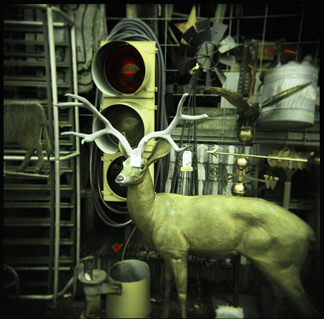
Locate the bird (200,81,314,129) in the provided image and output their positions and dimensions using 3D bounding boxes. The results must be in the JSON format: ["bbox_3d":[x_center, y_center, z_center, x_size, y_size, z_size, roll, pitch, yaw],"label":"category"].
[{"bbox_3d":[0.687,-0.396,2.889,0.794,0.365,0.274,3,-2,7],"label":"bird"}]

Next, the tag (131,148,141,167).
[{"bbox_3d":[-0.168,-0.010,2.543,0.051,0.114,0.018,-1,-16,-1],"label":"tag"}]

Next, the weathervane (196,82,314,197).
[{"bbox_3d":[0.734,-0.151,2.952,0.724,0.832,0.147,2,4,6],"label":"weathervane"}]

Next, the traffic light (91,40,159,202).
[{"bbox_3d":[-0.259,-0.375,3.022,0.494,1.244,0.480,1,17,-1],"label":"traffic light"}]
